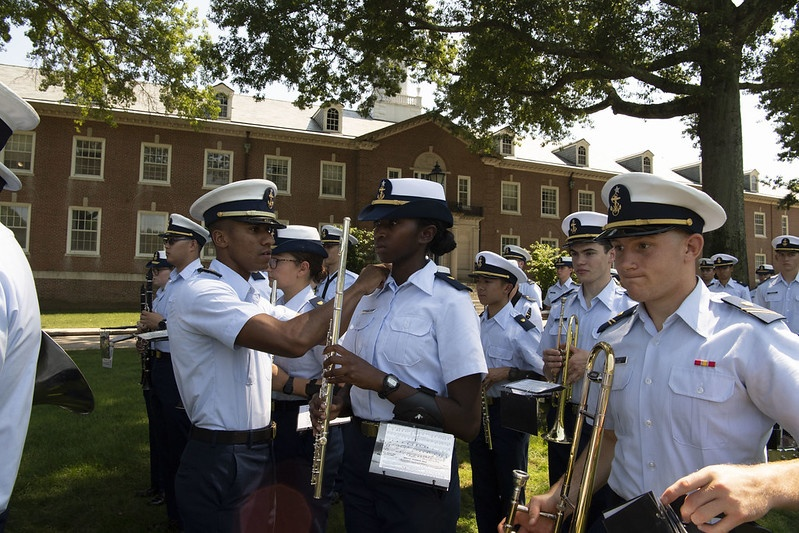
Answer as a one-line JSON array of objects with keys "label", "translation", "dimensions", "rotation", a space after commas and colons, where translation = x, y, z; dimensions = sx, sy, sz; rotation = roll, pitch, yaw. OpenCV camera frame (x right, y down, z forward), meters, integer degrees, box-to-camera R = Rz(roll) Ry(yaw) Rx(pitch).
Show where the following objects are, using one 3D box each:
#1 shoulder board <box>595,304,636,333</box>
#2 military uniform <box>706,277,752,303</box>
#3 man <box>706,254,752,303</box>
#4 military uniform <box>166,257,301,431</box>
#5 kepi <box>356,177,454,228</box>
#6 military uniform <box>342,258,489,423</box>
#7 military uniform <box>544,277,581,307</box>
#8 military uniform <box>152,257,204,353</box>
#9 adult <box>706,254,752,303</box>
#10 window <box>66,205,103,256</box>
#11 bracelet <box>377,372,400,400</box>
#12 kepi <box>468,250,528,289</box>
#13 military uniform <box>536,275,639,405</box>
[{"label": "shoulder board", "translation": [2.488, 0.590, 8.998], "dimensions": [0.547, 0.119, 0.130], "rotation": [-31, -40, -6]}, {"label": "military uniform", "translation": [5.713, 0.372, 13.539], "dimensions": [0.491, 0.382, 0.253], "rotation": [-2, -9, 42]}, {"label": "man", "translation": [7.087, 0.309, 16.975], "dimensions": [1.077, 1.124, 0.606], "rotation": [-3, -6, 42]}, {"label": "military uniform", "translation": [-1.899, 0.799, 9.393], "dimensions": [1.668, 2.047, 2.013], "rotation": [0, -4, -10]}, {"label": "kepi", "translation": [0.095, -0.640, 8.573], "dimensions": [0.764, 0.331, 0.586], "rotation": [4, -3, -18]}, {"label": "military uniform", "translation": [0.120, 0.838, 8.407], "dimensions": [1.932, 1.761, 0.894], "rotation": [-3, -24, 38]}, {"label": "military uniform", "translation": [3.050, 0.449, 14.677], "dimensions": [0.339, 0.722, 0.843], "rotation": [7, -10, -39]}, {"label": "military uniform", "translation": [-2.817, 0.493, 9.916], "dimensions": [0.637, 1.113, 1.140], "rotation": [8, -16, -35]}, {"label": "adult", "translation": [7.082, 0.313, 16.959], "dimensions": [1.055, 1.104, 0.638], "rotation": [-4, -8, 39]}, {"label": "window", "translation": [-12.109, -1.353, 29.913], "dimensions": [1.159, 1.794, 0.215], "rotation": [0, 0, -18]}, {"label": "bracelet", "translation": [-0.120, 1.234, 8.204], "dimensions": [0.169, 0.236, 0.246], "rotation": [29, -42, 4]}, {"label": "kepi", "translation": [1.423, 0.045, 10.999], "dimensions": [0.555, 0.222, 0.521], "rotation": [24, -17, -25]}, {"label": "military uniform", "translation": [2.458, 0.959, 10.323], "dimensions": [0.656, 1.562, 1.207], "rotation": [19, -15, -40]}]
